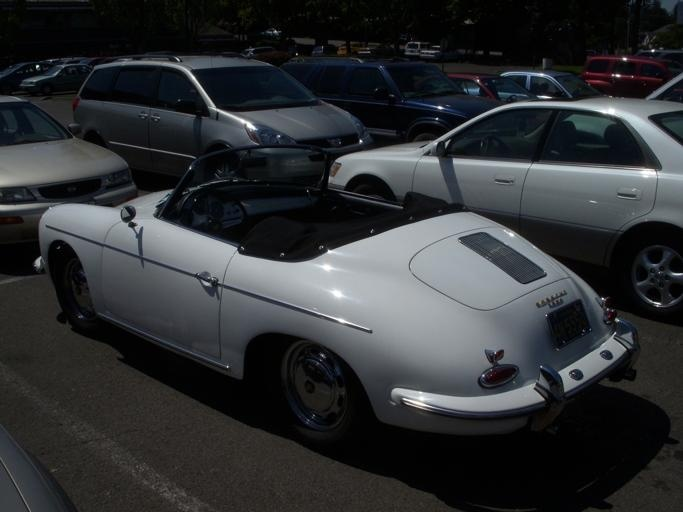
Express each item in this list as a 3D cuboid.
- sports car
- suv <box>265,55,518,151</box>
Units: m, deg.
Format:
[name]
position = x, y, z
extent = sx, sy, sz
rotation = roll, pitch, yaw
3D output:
[sports car]
position = -0.307, 0.074, 3.576
extent = 3.814, 1.341, 2.010
rotation = 18, 25, 32
[suv]
position = 0.949, -3.746, 11.261
extent = 4.499, 1.709, 2.260
rotation = 15, 26, 31
